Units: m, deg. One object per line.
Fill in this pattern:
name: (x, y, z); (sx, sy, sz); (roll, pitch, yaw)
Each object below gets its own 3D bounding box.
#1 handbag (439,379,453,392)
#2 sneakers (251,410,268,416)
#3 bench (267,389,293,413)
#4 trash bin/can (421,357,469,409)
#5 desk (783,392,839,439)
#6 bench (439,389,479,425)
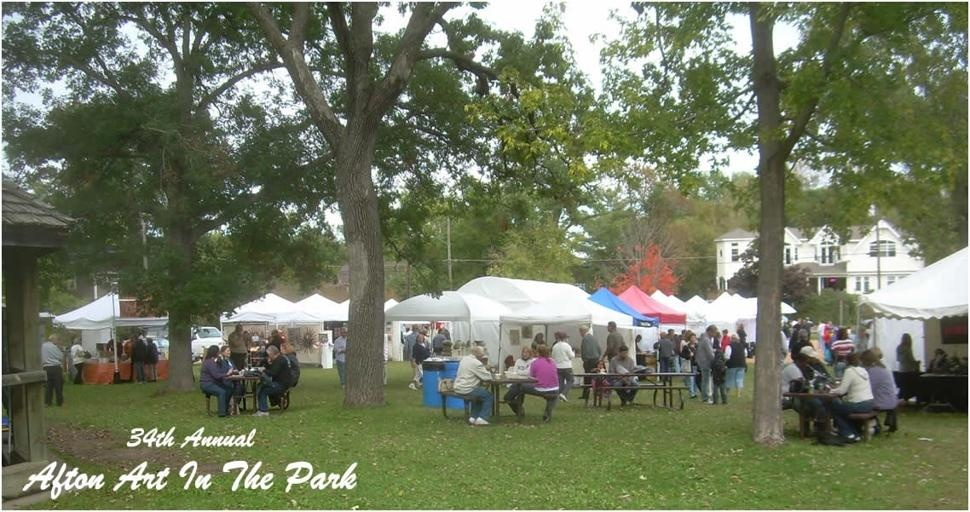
handbag: (-1.353, 4.353, 27.392); (0.423, 0.344, 0.419); (-6, -6, 30)
sneakers: (-7.634, 5.369, 27.986); (0.578, 0.227, 0.199); (4, -11, 3)
bench: (-7.193, 5.169, 29.017); (0.961, 0.885, 0.555); (2, -4, 7)
trash bin/can: (-1.321, 4.564, 29.347); (1.841, 1.521, 1.645); (1, -6, -6)
desk: (9.863, 4.871, 25.199); (1.517, 1.291, 1.500); (-4, -9, 34)
bench: (-0.963, 4.958, 27.538); (1.062, 1.179, 2.486); (-2, 8, -10)
